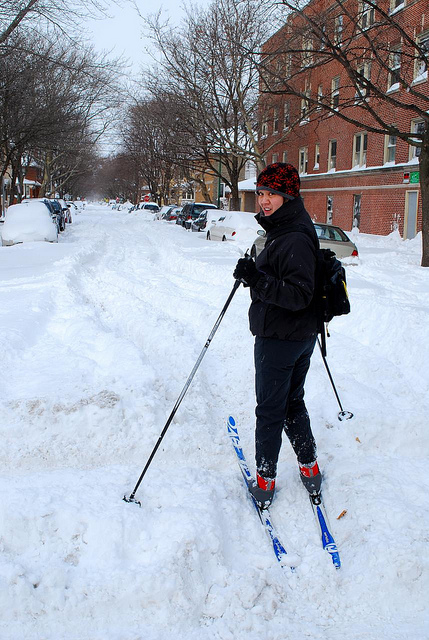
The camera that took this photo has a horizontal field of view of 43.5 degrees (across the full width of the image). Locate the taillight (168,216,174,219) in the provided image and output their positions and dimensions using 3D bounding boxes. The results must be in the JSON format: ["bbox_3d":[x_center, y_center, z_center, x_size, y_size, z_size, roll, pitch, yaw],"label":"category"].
[{"bbox_3d":[-2.824,-6.786,36.044,0.343,0.184,0.138,-3,16,-23],"label":"taillight"}]

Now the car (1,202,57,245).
[{"bbox_3d":[-5.550,-2.827,16.148,1.519,1.106,1.957,-3,16,-23],"label":"car"}]

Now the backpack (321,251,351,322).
[{"bbox_3d":[0.653,-0.163,2.881,0.160,0.371,0.247,7,15,13],"label":"backpack"}]

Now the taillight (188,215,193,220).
[{"bbox_3d":[-1.205,-5.183,27.481,0.145,0.226,0.438,-6,17,-31],"label":"taillight"}]

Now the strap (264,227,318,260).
[{"bbox_3d":[0.400,-0.414,2.766,0.249,0.117,0.143,4,15,2],"label":"strap"}]

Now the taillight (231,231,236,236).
[{"bbox_3d":[0.601,-2.656,16.753,0.062,0.147,0.197,-1,15,-17],"label":"taillight"}]

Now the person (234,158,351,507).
[{"bbox_3d":[0.458,0.078,3.226,0.661,1.956,1.191,5,15,8],"label":"person"}]

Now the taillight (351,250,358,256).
[{"bbox_3d":[3.356,-1.583,12.918,0.122,0.127,0.159,5,15,6],"label":"taillight"}]

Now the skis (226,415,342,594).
[{"bbox_3d":[0.327,1.109,3.146,0.242,0.128,0.913,-5,25,-17],"label":"skis"}]

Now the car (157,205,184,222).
[{"bbox_3d":[-3.042,-7.176,37.314,1.217,0.932,2.705,-4,25,-16],"label":"car"}]

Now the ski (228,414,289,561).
[{"bbox_3d":[0.240,1.001,3.304,0.110,0.087,1.088,10,20,-19],"label":"ski"}]

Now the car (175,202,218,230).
[{"bbox_3d":[-1.112,-5.355,28.116,1.145,1.023,2.541,0,21,2],"label":"car"}]
